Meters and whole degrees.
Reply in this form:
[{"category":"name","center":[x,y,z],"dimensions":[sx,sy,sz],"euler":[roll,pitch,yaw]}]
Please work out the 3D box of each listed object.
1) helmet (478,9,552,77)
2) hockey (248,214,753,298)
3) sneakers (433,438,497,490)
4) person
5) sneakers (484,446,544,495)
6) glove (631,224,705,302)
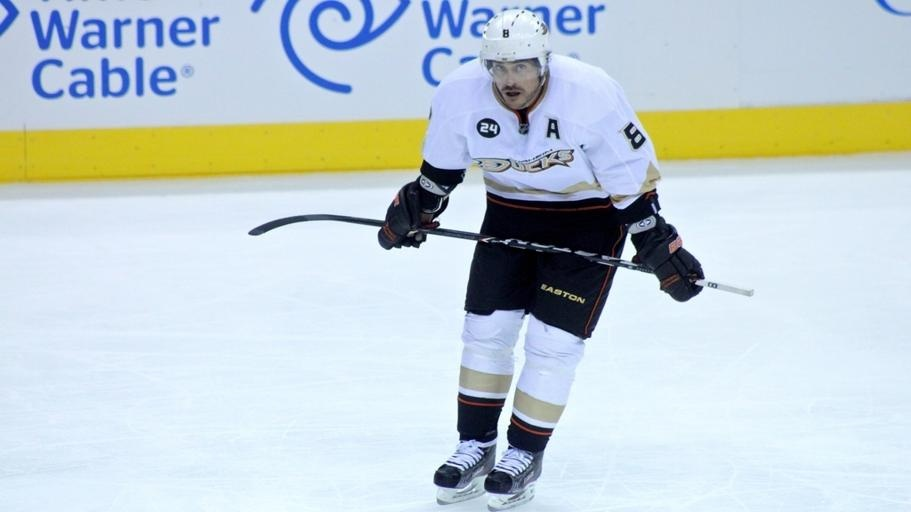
[{"category":"helmet","center":[0.310,-1.082,5.599],"dimensions":[0.346,0.300,0.369],"euler":[-4,2,16]},{"category":"hockey","center":[0.256,0.022,6.422],"dimensions":[2.721,0.289,0.137],"euler":[9,9,12]},{"category":"sneakers","center":[0.052,1.068,5.603],"dimensions":[0.150,0.161,0.438],"euler":[12,12,33]},{"category":"person","center":[0.408,0.009,5.584],"dimensions":[1.552,2.471,0.678],"euler":[6,13,1]},{"category":"sneakers","center":[0.290,1.099,5.552],"dimensions":[0.283,0.217,0.145],"euler":[-7,18,-45]},{"category":"glove","center":[1.102,0.010,5.642],"dimensions":[0.470,0.302,0.182],"euler":[44,9,-3]}]
